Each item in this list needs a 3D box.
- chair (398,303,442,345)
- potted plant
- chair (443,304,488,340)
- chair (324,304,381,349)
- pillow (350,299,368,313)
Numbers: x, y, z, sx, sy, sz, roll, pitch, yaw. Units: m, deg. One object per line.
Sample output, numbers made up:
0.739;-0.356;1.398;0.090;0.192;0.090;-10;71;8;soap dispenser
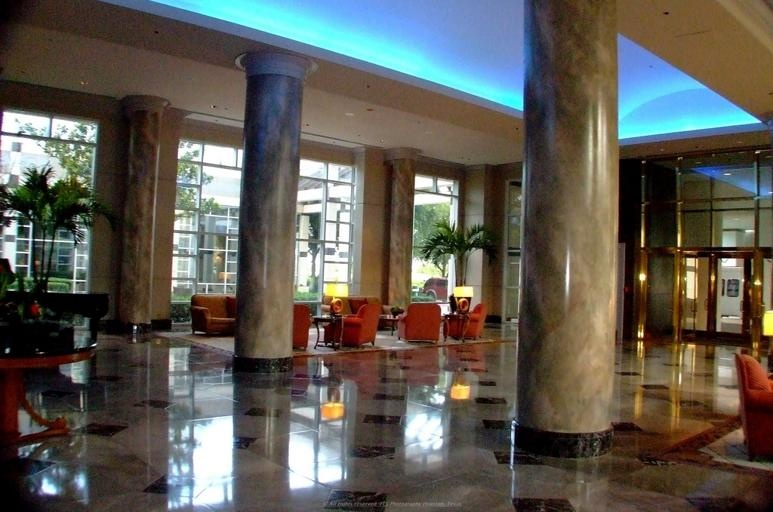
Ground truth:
0.835;1.574;14.169;1.008;0.912;0.733;2;1;-15;chair
2.503;0.201;19.170;2.303;2.446;2.216;12;15;35;potted plant
2.062;1.664;14.956;0.910;0.928;0.972;4;-6;-26;chair
-0.803;1.550;13.078;1.366;0.972;1.316;2;-3;-16;chair
-0.781;1.344;16.263;0.590;0.525;0.169;3;-17;-14;pillow
